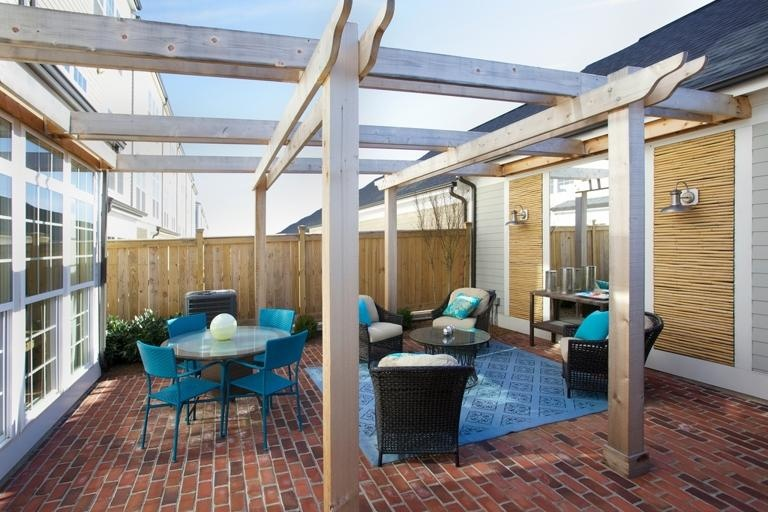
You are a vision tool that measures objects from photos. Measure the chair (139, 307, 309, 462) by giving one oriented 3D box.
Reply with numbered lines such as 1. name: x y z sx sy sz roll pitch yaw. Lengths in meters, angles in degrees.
1. chair: -2.367 1.787 6.985 2.036 0.944 2.028 3 4 38

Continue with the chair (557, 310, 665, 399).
1. chair: 3.296 1.384 7.202 1.416 1.079 1.308 0 -2 11

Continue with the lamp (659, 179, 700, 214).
1. lamp: 4.372 -0.899 7.445 0.558 0.510 0.358 -3 1 -33

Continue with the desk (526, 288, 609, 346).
1. desk: 3.648 1.244 9.272 1.249 1.183 1.614 0 1 -14

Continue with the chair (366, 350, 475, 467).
1. chair: 0.428 1.834 6.259 1.211 1.180 1.176 0 0 0

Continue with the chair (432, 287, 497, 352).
1. chair: 1.493 1.158 9.397 1.110 1.221 1.240 -3 -9 43

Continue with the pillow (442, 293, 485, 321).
1. pillow: 1.464 0.961 9.325 0.734 0.371 0.465 -3 0 8

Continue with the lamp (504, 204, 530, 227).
1. lamp: 2.796 -0.845 10.498 0.414 0.477 0.453 2 -2 -16

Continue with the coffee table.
1. coffee table: 1.003 1.512 7.805 1.036 0.574 1.010 -1 2 20
